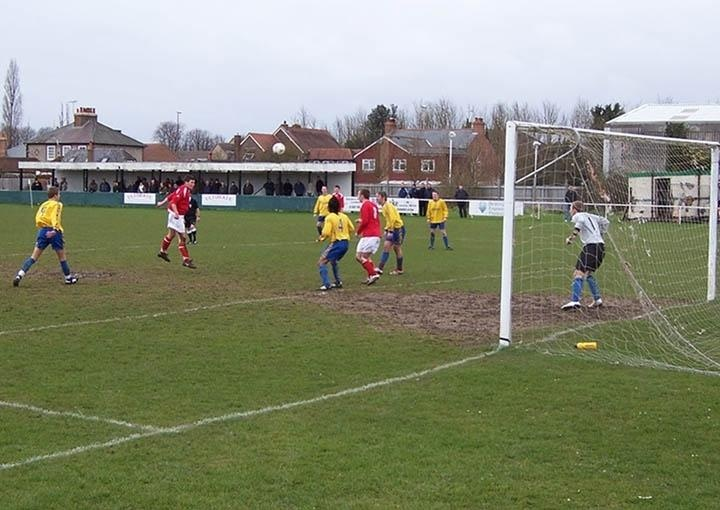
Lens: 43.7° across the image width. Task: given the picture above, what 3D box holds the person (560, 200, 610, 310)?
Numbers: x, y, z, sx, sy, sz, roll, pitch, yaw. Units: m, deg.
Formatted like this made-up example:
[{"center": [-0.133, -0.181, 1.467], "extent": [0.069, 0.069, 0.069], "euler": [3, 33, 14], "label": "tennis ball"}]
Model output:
[{"center": [4.013, 0.045, 15.868], "extent": [0.701, 1.911, 1.453], "euler": [5, 13, 15], "label": "person"}]

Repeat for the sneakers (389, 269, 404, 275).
[{"center": [0.812, 0.362, 19.890], "extent": [0.310, 0.131, 0.115], "euler": [3, 3, 13], "label": "sneakers"}]

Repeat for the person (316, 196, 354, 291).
[{"center": [-0.461, -0.232, 17.419], "extent": [0.649, 1.848, 0.740], "euler": [1, 13, -4], "label": "person"}]

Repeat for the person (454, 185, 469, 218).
[{"center": [4.769, -2.445, 41.218], "extent": [0.602, 1.332, 2.273], "euler": [3, 13, 7], "label": "person"}]

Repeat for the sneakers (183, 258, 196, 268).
[{"center": [-3.821, 0.179, 20.051], "extent": [0.144, 0.207, 0.420], "euler": [-25, 19, -37], "label": "sneakers"}]

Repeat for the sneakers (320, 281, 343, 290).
[{"center": [-0.542, 0.586, 17.458], "extent": [0.528, 0.222, 0.158], "euler": [2, 0, -22], "label": "sneakers"}]

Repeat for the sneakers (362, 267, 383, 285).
[{"center": [0.317, 0.380, 18.274], "extent": [0.509, 0.214, 0.168], "euler": [-33, -14, -45], "label": "sneakers"}]

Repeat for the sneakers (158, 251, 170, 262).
[{"center": [-4.520, 0.027, 20.606], "extent": [0.338, 0.177, 0.127], "euler": [25, 23, 27], "label": "sneakers"}]
